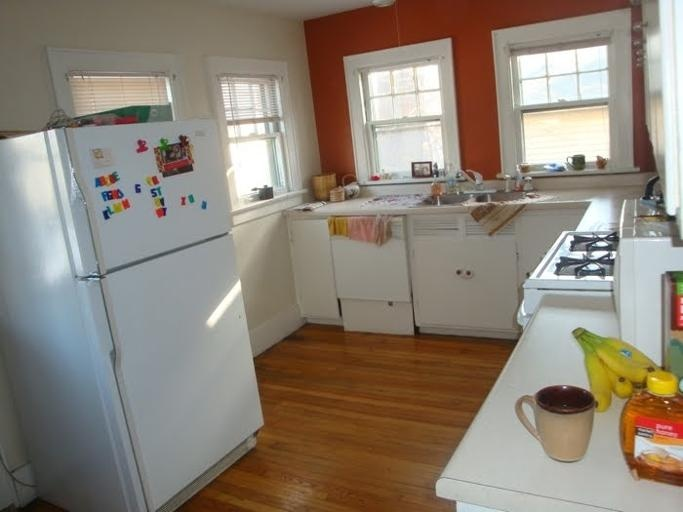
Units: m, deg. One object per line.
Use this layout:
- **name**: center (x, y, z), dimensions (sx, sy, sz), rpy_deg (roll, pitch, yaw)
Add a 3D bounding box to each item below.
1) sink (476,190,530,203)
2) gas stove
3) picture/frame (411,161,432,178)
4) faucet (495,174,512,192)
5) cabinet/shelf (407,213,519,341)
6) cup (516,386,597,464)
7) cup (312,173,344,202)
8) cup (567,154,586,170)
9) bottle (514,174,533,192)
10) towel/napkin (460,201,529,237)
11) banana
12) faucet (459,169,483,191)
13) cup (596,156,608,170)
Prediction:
- **sink**: center (1.355, -0.518, 4.257), dimensions (0.261, 0.101, 0.195), rpy_deg (6, 14, 34)
- **gas stove**: center (1.114, 0.005, 2.389), dimensions (0.341, 0.108, 0.720), rpy_deg (3, 18, 28)
- **picture/frame**: center (0.770, -0.820, 4.795), dimensions (0.250, 0.219, 0.133), rpy_deg (3, 12, 22)
- **faucet**: center (1.435, -0.655, 4.375), dimensions (0.151, 0.203, 0.104), rpy_deg (-2, 11, 8)
- **cabinet/shelf**: center (1.042, 0.277, 4.319), dimensions (0.874, 1.130, 0.588), rpy_deg (0, -28, 10)
- **cup**: center (0.550, 0.378, 1.281), dimensions (0.214, 0.171, 0.171), rpy_deg (4, 14, 37)
- **cup**: center (-0.155, -0.686, 4.926), dimensions (0.267, 0.268, 0.239), rpy_deg (-12, 18, -43)
- **cup**: center (1.988, -0.795, 4.206), dimensions (0.141, 0.128, 0.124), rpy_deg (2, 17, 24)
- **bottle**: center (1.556, -0.626, 4.262), dimensions (0.146, 0.128, 0.123), rpy_deg (-1, 16, 18)
- **towel/napkin**: center (1.197, -0.280, 3.828), dimensions (0.411, 0.250, 0.118), rpy_deg (0, 16, 21)
- **banana**: center (0.756, 0.274, 1.343), dimensions (0.215, 0.116, 0.130), rpy_deg (13, 3, 36)
- **faucet**: center (1.158, -0.679, 4.421), dimensions (0.190, 0.193, 0.319), rpy_deg (-1, 16, 16)
- **cup**: center (2.133, -0.766, 4.088), dimensions (0.084, 0.115, 0.111), rpy_deg (7, 13, 30)
